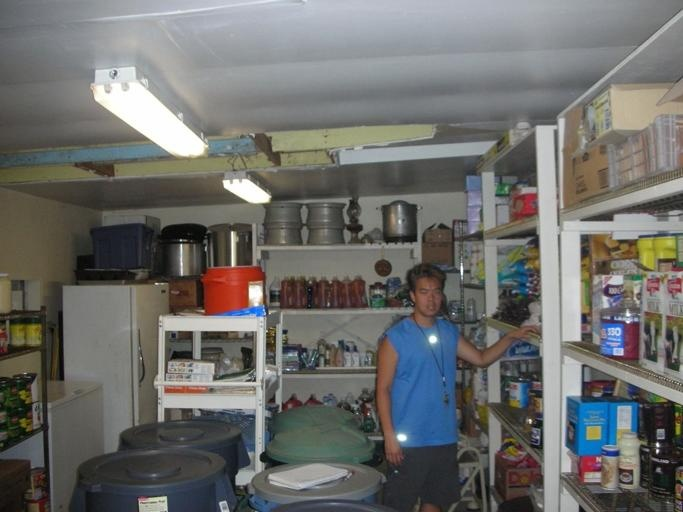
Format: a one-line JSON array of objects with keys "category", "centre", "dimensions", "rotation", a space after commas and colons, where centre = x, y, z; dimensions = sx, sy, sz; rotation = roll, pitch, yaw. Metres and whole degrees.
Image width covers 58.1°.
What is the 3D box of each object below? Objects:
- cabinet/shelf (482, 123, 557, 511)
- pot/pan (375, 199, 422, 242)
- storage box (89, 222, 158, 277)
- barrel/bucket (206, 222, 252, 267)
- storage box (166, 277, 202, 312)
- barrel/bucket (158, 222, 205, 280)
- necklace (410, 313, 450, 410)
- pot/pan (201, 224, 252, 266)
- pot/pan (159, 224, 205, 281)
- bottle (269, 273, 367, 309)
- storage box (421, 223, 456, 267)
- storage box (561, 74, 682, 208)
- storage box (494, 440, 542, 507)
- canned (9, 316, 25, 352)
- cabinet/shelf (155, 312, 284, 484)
[{"category": "cabinet/shelf", "centre": [1.106, 0.373, 3.748], "dimensions": [0.401, 2.188, 1.386], "rotation": [-3, -5, 7]}, {"category": "pot/pan", "centre": [0.526, -0.323, 5.708], "dimensions": [0.404, 0.377, 0.357], "rotation": [0, -3, -1]}, {"category": "storage box", "centre": [-2.182, -0.072, 6.183], "dimensions": [0.662, 0.449, 0.454], "rotation": [-3, -9, 8]}, {"category": "barrel/bucket", "centre": [-1.170, -0.112, 6.253], "dimensions": [0.425, 0.431, 0.433], "rotation": [2, 13, 0]}, {"category": "storage box", "centre": [-1.546, 0.397, 6.395], "dimensions": [0.479, 0.316, 0.464], "rotation": [1, -4, -20]}, {"category": "barrel/bucket", "centre": [-1.662, -0.037, 6.421], "dimensions": [0.518, 0.533, 0.496], "rotation": [-3, -3, 0]}, {"category": "necklace", "centre": [0.577, 0.658, 3.724], "dimensions": [0.155, 0.513, 0.030], "rotation": [-9, -25, -1]}, {"category": "pot/pan", "centre": [-1.141, -0.115, 6.076], "dimensions": [0.448, 0.456, 0.432], "rotation": [0, -4, -14]}, {"category": "pot/pan", "centre": [-1.674, -0.074, 6.414], "dimensions": [0.532, 0.550, 0.531], "rotation": [-3, 9, -28]}, {"category": "bottle", "centre": [-0.178, 0.348, 6.001], "dimensions": [0.844, 0.307, 0.176], "rotation": [-2, -4, 2]}, {"category": "storage box", "centre": [0.926, -0.123, 5.916], "dimensions": [0.419, 0.528, 0.325], "rotation": [1, 6, 6]}, {"category": "storage box", "centre": [1.217, -0.419, 2.779], "dimensions": [0.410, 0.455, 0.656], "rotation": [2, -6, 4]}, {"category": "storage box", "centre": [1.181, 1.505, 4.149], "dimensions": [0.222, 0.264, 0.391], "rotation": [2, -15, 4]}, {"category": "canned", "centre": [-2.173, 0.512, 4.124], "dimensions": [0.095, 0.191, 0.056], "rotation": [0, -5, -28]}, {"category": "cabinet/shelf", "centre": [-0.729, 0.835, 4.210], "dimensions": [0.966, 1.257, 0.921], "rotation": [0, -1, 3]}]
